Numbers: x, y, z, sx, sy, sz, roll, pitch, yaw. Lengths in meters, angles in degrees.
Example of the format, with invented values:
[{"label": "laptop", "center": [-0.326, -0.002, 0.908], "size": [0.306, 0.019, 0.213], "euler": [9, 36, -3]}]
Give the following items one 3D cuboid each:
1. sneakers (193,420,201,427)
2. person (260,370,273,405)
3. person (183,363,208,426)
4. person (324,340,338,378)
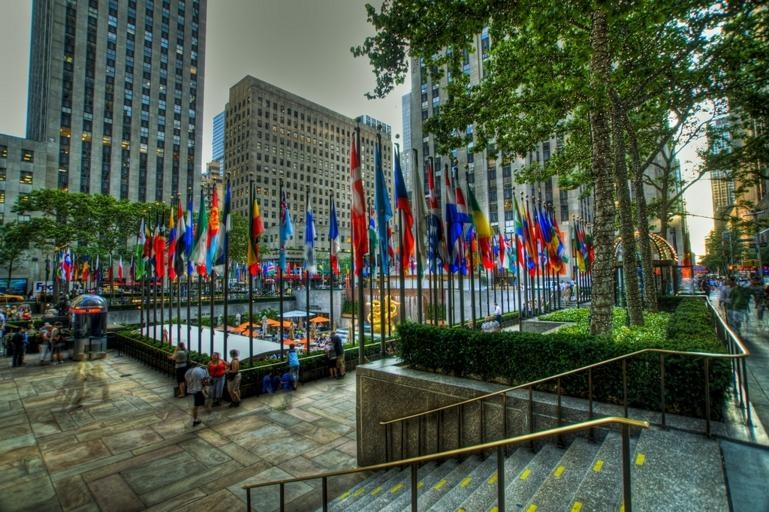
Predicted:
[{"label": "sneakers", "center": [-10.322, 9.139, 31.220], "size": [0.169, 0.233, 0.522], "euler": [0, 4, 14]}, {"label": "person", "center": [-7.064, 7.680, 34.540], "size": [0.768, 1.469, 0.705], "euler": [1, -6, -30]}, {"label": "person", "center": [-10.570, 7.693, 31.946], "size": [1.075, 3.278, 1.519], "euler": [0, -6, -22]}, {"label": "person", "center": [-3.423, 6.489, 36.665], "size": [0.635, 2.556, 0.698], "euler": [-2, -6, -5]}]
